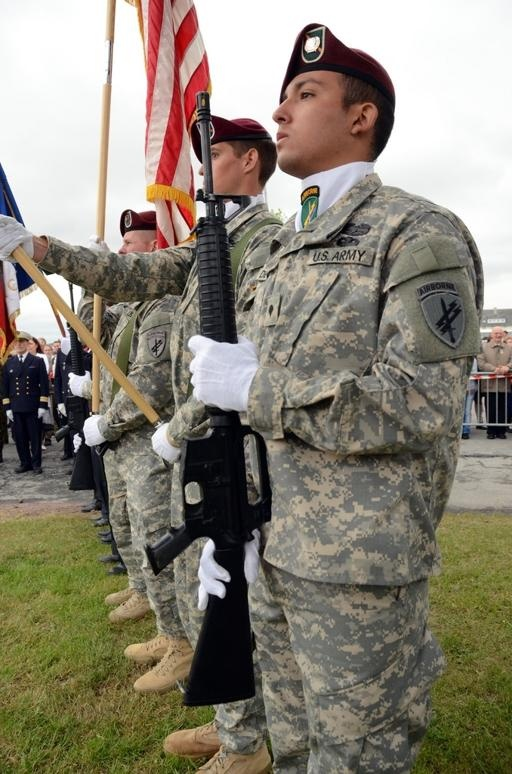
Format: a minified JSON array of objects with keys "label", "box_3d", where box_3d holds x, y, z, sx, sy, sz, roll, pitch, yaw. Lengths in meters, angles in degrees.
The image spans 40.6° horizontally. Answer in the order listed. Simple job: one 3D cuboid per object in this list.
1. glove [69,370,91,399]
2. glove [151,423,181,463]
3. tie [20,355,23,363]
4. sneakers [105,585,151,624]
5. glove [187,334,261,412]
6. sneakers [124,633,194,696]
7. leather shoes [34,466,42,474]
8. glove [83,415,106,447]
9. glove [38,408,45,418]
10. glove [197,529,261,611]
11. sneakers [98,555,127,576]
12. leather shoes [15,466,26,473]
[{"label":"glove","box_3d":[-1.232,-0.009,4.963,0.168,0.214,0.093,-4,-4,20]},{"label":"glove","box_3d":[-0.342,0.244,2.796,0.141,0.178,0.069,-2,-19,27]},{"label":"tie","box_3d":[-3.800,-0.447,11.161,0.049,0.125,0.026,18,-25,-28]},{"label":"sneakers","box_3d":[-0.760,1.306,4.088,0.209,0.081,0.251,10,-3,-22]},{"label":"glove","box_3d":[-0.086,-0.024,1.748,0.201,0.181,0.063,-1,-8,17]},{"label":"sneakers","box_3d":[-0.446,1.319,3.298,0.295,0.146,0.414,10,-7,-16]},{"label":"leather shoes","box_3d":[-3.281,1.261,10.419,0.127,0.116,0.075,-3,0,14]},{"label":"glove","box_3d":[-0.838,0.245,3.736,0.131,0.170,0.069,11,-6,46]},{"label":"glove","box_3d":[-3.344,0.422,10.819,0.121,0.158,0.061,-2,-10,23]},{"label":"glove","box_3d":[-0.083,0.500,1.882,0.209,0.192,0.064,0,-3,5]},{"label":"sneakers","box_3d":[-1.026,1.317,5.122,0.098,0.191,0.283,7,-18,-30]},{"label":"leather shoes","box_3d":[-3.649,1.273,10.679,0.084,0.132,0.385,-7,2,-8]}]
